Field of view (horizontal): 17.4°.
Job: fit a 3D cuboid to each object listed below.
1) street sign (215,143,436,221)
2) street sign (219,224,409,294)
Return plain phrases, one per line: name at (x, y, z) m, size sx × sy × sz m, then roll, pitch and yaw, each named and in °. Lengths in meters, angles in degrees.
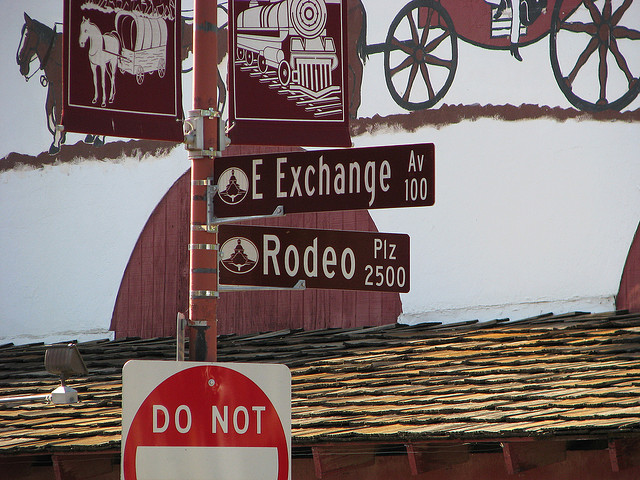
street sign at (0.026, -0.497, 16.928) m, size 1.853 × 0.032 × 0.657 m, roll -4°, pitch -60°, yaw -1°
street sign at (-0.054, 0.136, 17.038) m, size 1.674 × 0.640 × 0.024 m, roll 3°, pitch -29°, yaw 0°
